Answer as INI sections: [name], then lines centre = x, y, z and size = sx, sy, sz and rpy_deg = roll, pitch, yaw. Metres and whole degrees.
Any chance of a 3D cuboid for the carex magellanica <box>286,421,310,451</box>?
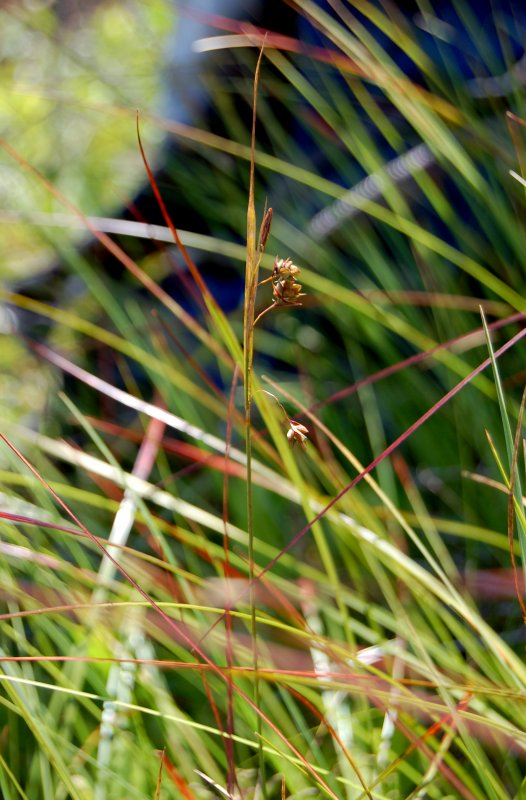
[carex magellanica]
centre = 0.019, 0.022, 0.417
size = 0.009, 0.018, 0.018
rpy_deg = -3, -4, -5
